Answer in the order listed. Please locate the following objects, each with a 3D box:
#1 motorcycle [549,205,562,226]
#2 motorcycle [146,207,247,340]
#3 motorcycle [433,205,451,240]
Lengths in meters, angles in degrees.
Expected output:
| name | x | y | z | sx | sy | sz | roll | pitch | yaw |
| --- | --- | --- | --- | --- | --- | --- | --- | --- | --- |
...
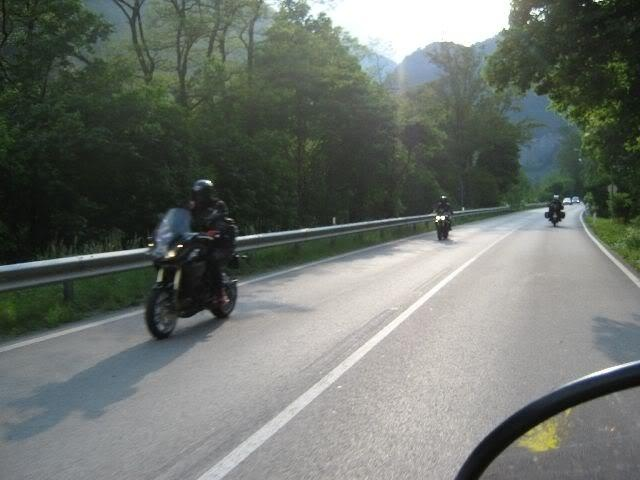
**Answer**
| name | x | y | z | sx | sy | sz | roll | pitch | yaw |
| --- | --- | --- | --- | --- | --- | --- | --- | --- | --- |
| motorcycle | 15.363 | -1.479 | 39.137 | 0.745 | 1.138 | 1.648 | 2 | 5 | 18 |
| motorcycle | -2.030 | 0.446 | 8.658 | 0.477 | 1.786 | 1.339 | 2 | 4 | 22 |
| motorcycle | 5.565 | -0.739 | 27.100 | 0.667 | 1.422 | 1.184 | 1 | 4 | 10 |
